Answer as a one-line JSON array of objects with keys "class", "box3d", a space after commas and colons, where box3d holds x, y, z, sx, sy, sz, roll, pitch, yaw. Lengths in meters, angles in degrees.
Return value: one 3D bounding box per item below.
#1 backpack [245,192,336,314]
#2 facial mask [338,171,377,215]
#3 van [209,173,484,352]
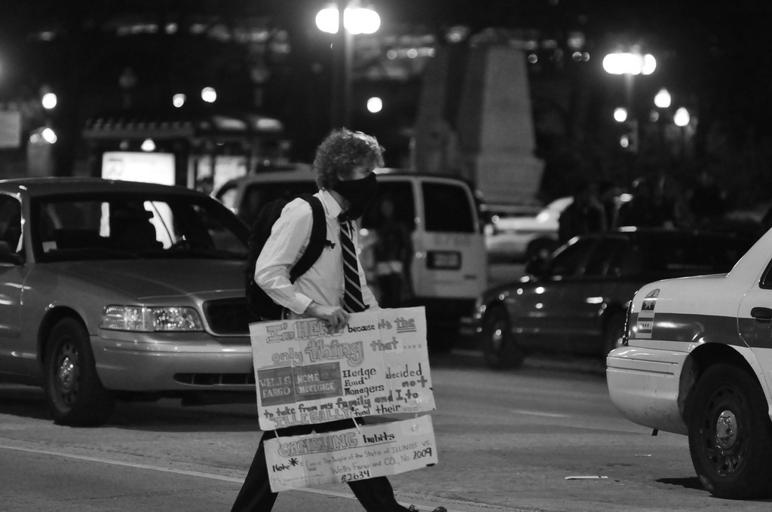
[{"class": "backpack", "box3d": [-0.624, 0.021, 7.250, 0.552, 0.812, 0.282, 3, 7, 9]}, {"class": "facial mask", "box3d": [-0.172, -0.395, 7.272, 0.274, 0.217, 0.256, 0, 2, -2]}, {"class": "van", "box3d": [-0.551, -0.205, 19.202, 4.189, 2.180, 2.345, 3, 2, 27]}]
